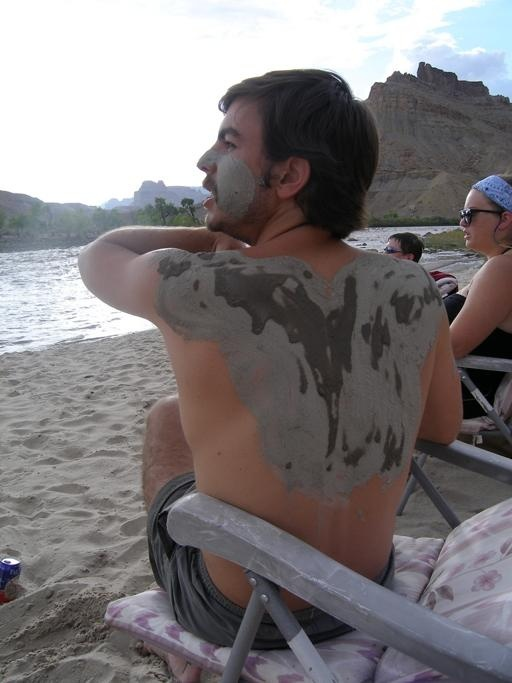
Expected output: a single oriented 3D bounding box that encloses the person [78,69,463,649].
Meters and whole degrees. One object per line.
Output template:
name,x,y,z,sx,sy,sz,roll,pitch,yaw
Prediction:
person,0.058,0.120,1.476,0.804,1.372,0.742,7,11,30
